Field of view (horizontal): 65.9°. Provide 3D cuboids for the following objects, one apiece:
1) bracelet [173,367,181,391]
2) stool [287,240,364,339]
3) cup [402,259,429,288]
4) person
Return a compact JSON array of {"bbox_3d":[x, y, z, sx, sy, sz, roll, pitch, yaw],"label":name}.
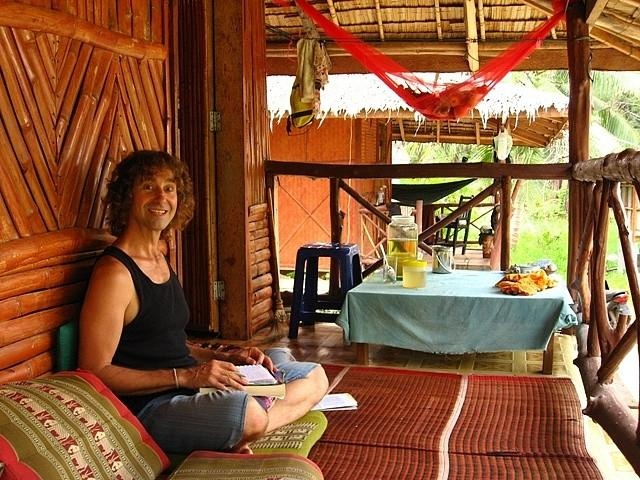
[{"bbox_3d":[-0.558,0.537,1.922,0.013,0.057,0.057,-7,7,-16],"label":"bracelet"},{"bbox_3d":[0.039,0.366,4.375,0.710,0.889,0.735,2,5,5],"label":"stool"},{"bbox_3d":[0.630,0.226,3.358,0.164,0.186,0.170,2,-3,0],"label":"cup"},{"bbox_3d":[-0.499,0.288,2.546,1.035,1.436,1.373,-3,-4,0],"label":"person"}]
